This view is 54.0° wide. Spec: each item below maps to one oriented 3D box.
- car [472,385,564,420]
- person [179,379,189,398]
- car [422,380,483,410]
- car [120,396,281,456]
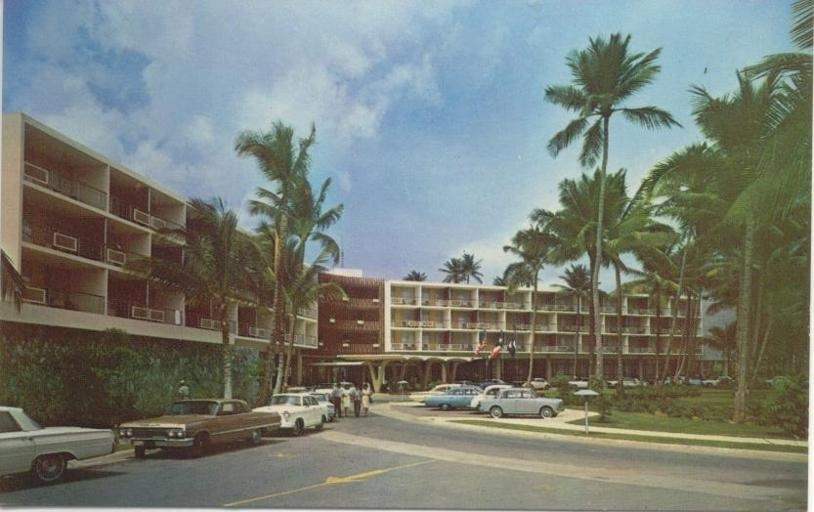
[{"bbox_3d":[6.748,8.973,48.990,4.594,1.564,2.072,-2,-7,12],"label":"car"},{"bbox_3d":[-12.297,7.387,44.074,0.616,0.841,1.562,-1,5,-15],"label":"person"},{"bbox_3d":[3.007,9.730,55.622,3.565,1.072,1.838,-4,-6,14],"label":"car"},{"bbox_3d":[-8.900,7.836,36.869,2.919,1.583,5.450,-7,-15,23],"label":"car"}]
